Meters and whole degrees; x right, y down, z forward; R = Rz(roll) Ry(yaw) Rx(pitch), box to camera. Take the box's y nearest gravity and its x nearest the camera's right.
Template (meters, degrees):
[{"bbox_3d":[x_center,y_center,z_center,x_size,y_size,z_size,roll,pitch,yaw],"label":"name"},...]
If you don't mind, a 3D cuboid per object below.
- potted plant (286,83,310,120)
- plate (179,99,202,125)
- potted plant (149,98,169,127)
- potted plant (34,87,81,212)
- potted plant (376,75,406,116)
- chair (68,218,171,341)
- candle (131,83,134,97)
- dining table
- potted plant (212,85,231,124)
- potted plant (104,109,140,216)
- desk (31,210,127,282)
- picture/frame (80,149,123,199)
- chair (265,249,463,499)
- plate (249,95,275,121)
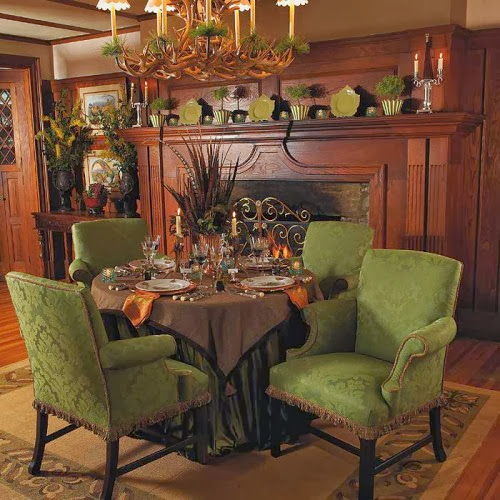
[{"bbox_3d":[0.444,-1.365,4.226,0.210,0.360,0.336,0,11,5],"label":"potted plant"},{"bbox_3d":[-0.594,-1.459,4.860,0.232,0.284,0.173,7,14,37],"label":"plate"},{"bbox_3d":[-1.001,-1.505,5.034,0.197,0.366,0.458,-3,10,-9],"label":"potted plant"},{"bbox_3d":[-2.488,-1.364,5.949,0.504,1.714,0.867,-7,13,-23],"label":"potted plant"},{"bbox_3d":[1.143,-1.257,3.743,0.227,0.358,0.345,2,11,15],"label":"potted plant"},{"bbox_3d":[-0.935,0.195,3.381,0.741,0.775,0.596,-6,15,-22],"label":"chair"},{"bbox_3d":[-1.404,-1.920,5.485,0.056,0.180,0.108,-4,12,-13],"label":"candle"},{"bbox_3d":[-0.169,0.501,2.396,0.903,0.515,0.948,8,13,39],"label":"dining table"},{"bbox_3d":[-0.282,-1.454,4.654,0.167,0.399,0.405,-2,11,-2],"label":"potted plant"},{"bbox_3d":[-1.475,-1.023,5.295,0.354,1.287,0.454,-5,12,-15],"label":"potted plant"},{"bbox_3d":[-1.676,-0.086,4.398,1.169,0.832,0.394,1,4,22],"label":"desk"},{"bbox_3d":[-1.877,-1.024,5.943,0.851,0.501,0.029,3,11,35],"label":"picture/frame"},{"bbox_3d":[0.517,0.530,2.083,0.693,0.987,0.774,9,15,41],"label":"chair"},{"bbox_3d":[0.101,-1.349,4.385,0.109,0.242,0.251,-12,15,-41],"label":"plate"}]
